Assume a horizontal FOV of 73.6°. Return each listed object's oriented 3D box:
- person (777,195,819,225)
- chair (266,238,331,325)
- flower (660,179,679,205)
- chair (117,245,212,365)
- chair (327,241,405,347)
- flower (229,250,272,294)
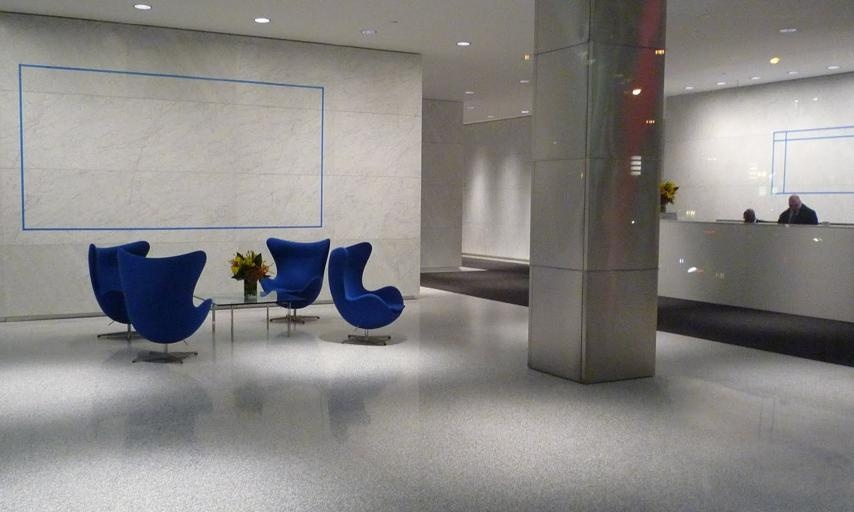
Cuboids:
[{"bbox_3d":[7.491,-0.925,11.433,0.317,0.825,0.442,17,-27,-26],"label":"person"},{"bbox_3d":[-2.373,0.401,10.115,1.273,1.373,1.274,0,4,-27],"label":"chair"},{"bbox_3d":[5.525,-1.450,13.056,0.307,0.520,0.527,5,12,18],"label":"flower"},{"bbox_3d":[-3.747,0.690,8.318,1.594,1.809,1.525,2,2,2],"label":"chair"},{"bbox_3d":[-0.962,0.558,9.160,1.128,1.531,1.112,2,12,5],"label":"chair"},{"bbox_3d":[-2.968,0.318,9.539,0.718,0.676,0.609,1,-1,-36],"label":"flower"}]
